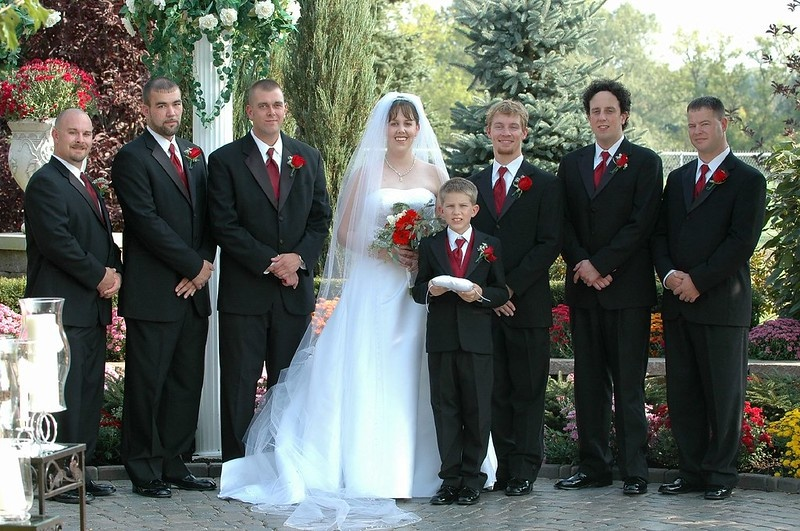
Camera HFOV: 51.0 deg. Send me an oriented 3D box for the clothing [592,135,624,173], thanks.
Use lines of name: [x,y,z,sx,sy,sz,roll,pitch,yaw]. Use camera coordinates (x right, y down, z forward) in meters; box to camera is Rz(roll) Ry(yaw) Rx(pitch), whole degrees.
clothing: [1.873,-1.020,7.626,0.233,0.300,0.114,6,-2,17]

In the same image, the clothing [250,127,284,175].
clothing: [-1.204,-1.081,7.655,0.269,0.350,0.203,1,7,-3]

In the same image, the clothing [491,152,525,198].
clothing: [0.975,-0.844,7.692,0.260,0.342,0.181,11,1,7]

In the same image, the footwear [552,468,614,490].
footwear: [1.674,1.942,7.693,0.529,0.194,0.185,3,-11,-5]

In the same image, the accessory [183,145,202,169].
accessory: [-1.869,-1.005,7.694,0.193,0.183,0.093,23,39,27]

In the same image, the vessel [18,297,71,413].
vessel: [-2.521,0.627,5.977,0.292,0.791,0.121,0,-5,-23]

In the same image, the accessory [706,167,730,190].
accessory: [2.805,-0.776,7.386,0.156,0.193,0.098,21,-15,43]

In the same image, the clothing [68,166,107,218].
clothing: [-2.755,-0.675,7.492,0.340,0.423,0.117,-4,-16,-39]

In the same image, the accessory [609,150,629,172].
accessory: [1.969,-0.943,7.473,0.154,0.146,0.074,13,7,8]

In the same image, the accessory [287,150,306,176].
accessory: [-0.935,-0.950,7.747,0.174,0.172,0.174,4,-40,23]

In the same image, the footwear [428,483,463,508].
footwear: [0.401,1.969,7.210,0.116,0.120,0.322,-6,-13,39]

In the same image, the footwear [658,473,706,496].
footwear: [2.511,1.952,7.488,0.392,0.153,0.155,2,-9,-10]

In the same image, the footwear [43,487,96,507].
footwear: [-2.848,1.999,7.292,0.505,0.139,0.192,3,-5,1]

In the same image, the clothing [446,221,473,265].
clothing: [0.535,-0.248,7.399,0.195,0.255,0.138,2,0,-2]

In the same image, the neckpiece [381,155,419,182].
neckpiece: [-0.001,-0.881,7.732,0.317,0.220,0.119,-4,-21,-3]

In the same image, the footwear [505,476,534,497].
footwear: [1.056,1.953,7.442,0.103,0.104,0.259,-8,-16,38]

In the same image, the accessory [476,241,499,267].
accessory: [0.767,-0.116,7.335,0.084,0.165,0.165,-10,40,-18]

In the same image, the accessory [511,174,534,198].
accessory: [1.089,-0.724,7.480,0.188,0.180,0.092,44,6,40]

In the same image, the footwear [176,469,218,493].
footwear: [-1.845,1.964,7.639,0.403,0.147,0.144,0,-2,-3]

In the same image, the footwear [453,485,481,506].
footwear: [0.576,1.966,7.217,0.116,0.119,0.307,-1,-11,10]

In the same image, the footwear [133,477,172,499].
footwear: [-2.164,1.965,7.388,0.310,0.114,0.139,-6,-7,20]
